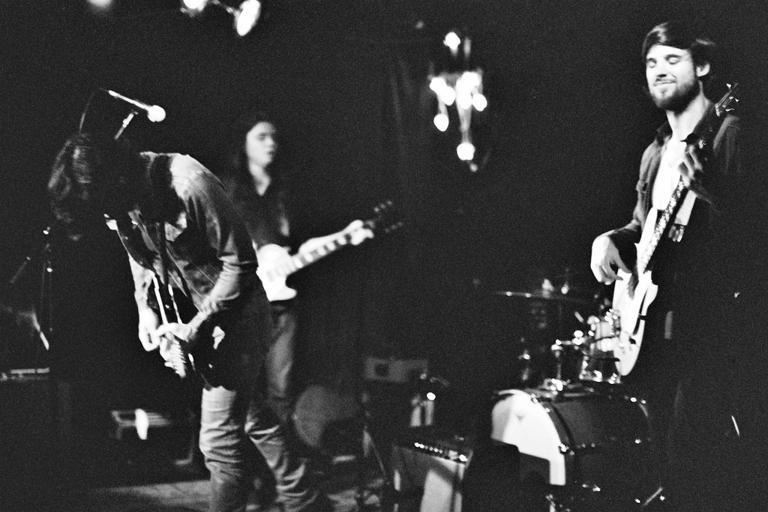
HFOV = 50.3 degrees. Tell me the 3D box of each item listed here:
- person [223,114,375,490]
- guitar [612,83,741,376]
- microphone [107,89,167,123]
[{"bbox_3d":[-0.450,0.224,4.481,0.688,0.184,1.705,-12,87,22],"label":"person"},{"bbox_3d":[1.389,-0.076,4.149,0.168,1.518,0.609,14,35,-1],"label":"guitar"},{"bbox_3d":[-1.293,-0.799,4.365,0.359,0.038,0.118,28,84,7],"label":"microphone"}]
